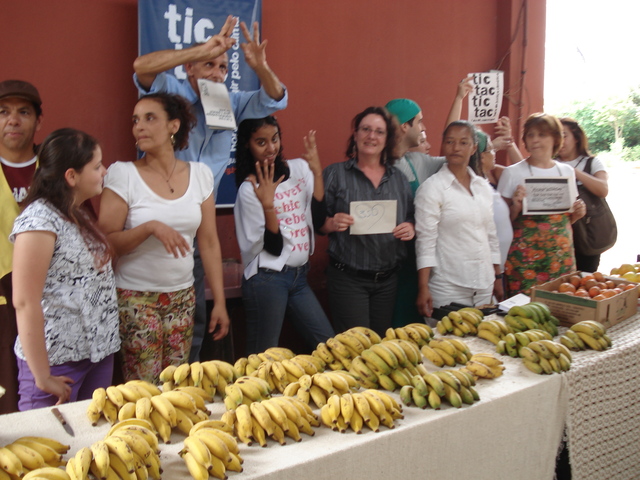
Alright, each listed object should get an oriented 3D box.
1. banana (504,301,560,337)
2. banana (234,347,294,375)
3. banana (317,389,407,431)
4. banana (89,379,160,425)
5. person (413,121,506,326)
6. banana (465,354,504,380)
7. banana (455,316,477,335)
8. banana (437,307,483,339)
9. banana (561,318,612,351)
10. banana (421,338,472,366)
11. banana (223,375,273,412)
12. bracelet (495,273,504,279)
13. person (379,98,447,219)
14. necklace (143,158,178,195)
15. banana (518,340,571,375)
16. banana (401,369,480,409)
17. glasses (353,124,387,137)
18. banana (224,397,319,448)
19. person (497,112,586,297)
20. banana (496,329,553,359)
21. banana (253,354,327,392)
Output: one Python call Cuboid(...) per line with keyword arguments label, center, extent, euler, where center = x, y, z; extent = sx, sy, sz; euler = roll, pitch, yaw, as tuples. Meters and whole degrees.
Cuboid(label="banana", center=(1.190, 0.441, 3.242), extent=(0.209, 0.201, 0.074), euler=(-2, -29, -17))
Cuboid(label="banana", center=(-0.275, 0.606, 2.798), extent=(0.237, 0.078, 0.121), euler=(-11, 24, -37))
Cuboid(label="banana", center=(0.173, 0.704, 2.378), extent=(0.183, 0.078, 0.203), euler=(-6, 8, -36))
Cuboid(label="banana", center=(-0.851, 0.648, 2.449), extent=(0.158, 0.068, 0.203), euler=(7, 18, 9))
Cuboid(label="person", center=(0.993, -0.133, 4.189), extent=(0.622, 1.438, 0.287), euler=(-2, 7, 5))
Cuboid(label="banana", center=(0.791, 0.606, 2.788), extent=(0.125, 0.055, 0.123), euler=(4, 3, -12))
Cuboid(label="banana", center=(0.831, 0.494, 3.272), extent=(0.059, 0.036, 0.112), euler=(-36, 53, -3))
Cuboid(label="banana", center=(0.790, 0.477, 3.293), extent=(0.195, 0.066, 0.146), euler=(14, 56, 48))
Cuboid(label="banana", center=(1.409, 0.495, 3.075), extent=(0.198, 0.162, 0.093), euler=(-6, 21, 8))
Cuboid(label="banana", center=(0.628, 0.570, 2.904), extent=(0.174, 0.068, 0.139), euler=(-1, 18, 20))
Cuboid(label="banana", center=(-0.290, 0.651, 2.536), extent=(0.149, 0.122, 0.057), euler=(16, 48, 41))
Cuboid(label="bracelet", center=(1.356, 0.266, 4.416), extent=(0.040, 0.014, 0.042), euler=(-15, 12, -34))
Cuboid(label="person", center=(0.688, -0.619, 4.413), extent=(0.316, 1.039, 0.865), euler=(-17, 22, 4))
Cuboid(label="necklace", center=(-0.885, -0.350, 3.251), extent=(0.190, 0.209, 0.067), euler=(-7, -1, -15))
Cuboid(label="banana", center=(1.105, 0.568, 2.813), extent=(0.185, 0.154, 0.089), euler=(1, -21, 15))
Cuboid(label="banana", center=(0.515, 0.652, 2.537), extent=(0.225, 0.087, 0.180), euler=(1, 24, -10))
Cuboid(label="glasses", center=(0.348, -0.775, 4.053), extent=(0.217, 0.083, 0.109), euler=(-1, 8, 12))
Cuboid(label="banana", center=(-0.190, 0.729, 2.339), extent=(0.226, 0.098, 0.213), euler=(-7, 6, 4))
Cuboid(label="person", center=(1.725, -0.270, 4.515), extent=(0.629, 1.437, 0.342), euler=(-4, 7, -10))
Cuboid(label="banana", center=(1.027, 0.524, 2.985), extent=(0.148, 0.071, 0.192), euler=(-13, -4, 5))
Cuboid(label="banana", center=(-0.153, 0.598, 2.645), extent=(0.167, 0.074, 0.209), euler=(14, 18, 25))
